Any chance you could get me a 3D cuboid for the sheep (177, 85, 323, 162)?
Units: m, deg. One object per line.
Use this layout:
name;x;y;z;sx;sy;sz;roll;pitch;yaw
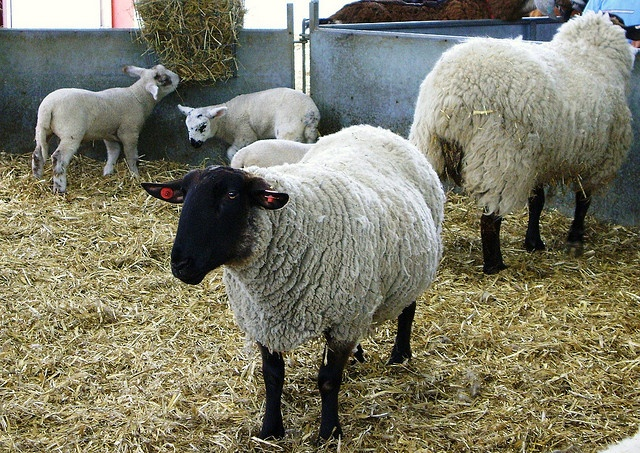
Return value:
sheep;-0.778;-1.342;8.845;2.055;1.049;0.786;-1;6;6
